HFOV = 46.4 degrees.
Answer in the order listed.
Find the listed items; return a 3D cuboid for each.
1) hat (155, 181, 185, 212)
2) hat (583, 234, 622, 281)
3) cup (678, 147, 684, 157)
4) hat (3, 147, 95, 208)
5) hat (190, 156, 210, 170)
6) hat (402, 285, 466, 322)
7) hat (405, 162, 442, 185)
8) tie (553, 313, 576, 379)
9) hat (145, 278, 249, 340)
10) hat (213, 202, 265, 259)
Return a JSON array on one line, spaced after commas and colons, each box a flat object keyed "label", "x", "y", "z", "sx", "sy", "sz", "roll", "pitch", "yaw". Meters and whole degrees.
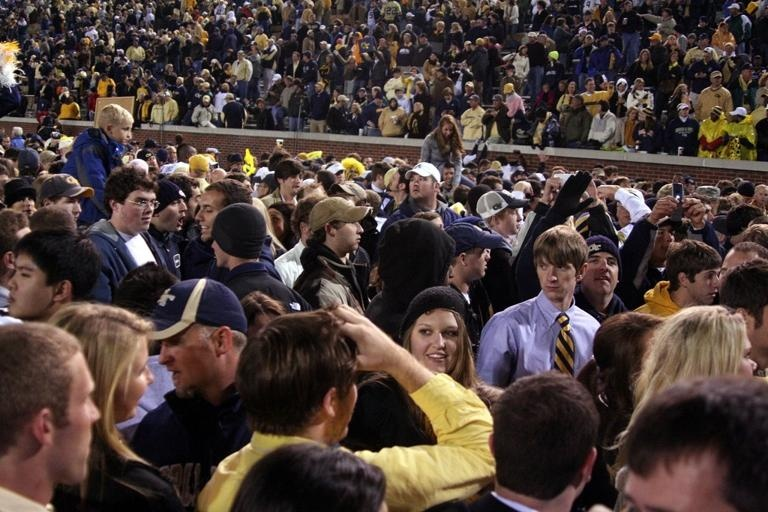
[{"label": "hat", "x": -1.967, "y": -0.543, "z": 8.201, "sx": 0.240, "sy": 0.212, "sz": 0.254, "roll": -11, "pitch": 1, "yaw": 2}, {"label": "hat", "x": 1.775, "y": -0.029, "z": 7.274, "sx": 0.272, "sy": 0.241, "sz": 0.439, "roll": 6, "pitch": 7, "yaw": 13}, {"label": "cup", "x": 6.331, "y": -2.227, "z": 19.115, "sx": 0.111, "sy": 0.180, "sz": 0.090, "roll": 6, "pitch": 7, "yaw": 14}, {"label": "hat", "x": -3.258, "y": -0.751, "z": 8.616, "sx": 0.819, "sy": 0.303, "sz": 0.474, "roll": 5, "pitch": 7, "yaw": -7}, {"label": "hat", "x": -2.596, "y": -1.298, "z": 12.530, "sx": 0.264, "sy": 0.198, "sz": 0.530, "roll": 3, "pitch": 8, "yaw": -14}, {"label": "hat", "x": 0.311, "y": 0.326, "z": 5.661, "sx": 0.386, "sy": 0.196, "sz": 0.348, "roll": -7, "pitch": -18, "yaw": 38}, {"label": "hat", "x": 0.486, "y": -0.915, "z": 9.675, "sx": 0.220, "sy": 0.176, "sz": 0.333, "roll": 8, "pitch": -21, "yaw": 42}, {"label": "tie", "x": 1.304, "y": 0.659, "z": 6.482, "sx": 0.153, "sy": 0.617, "sz": 0.079, "roll": 1, "pitch": 26, "yaw": 13}, {"label": "hat", "x": -1.122, "y": 0.315, "z": 5.253, "sx": 0.677, "sy": 0.369, "sz": 0.493, "roll": 5, "pitch": -10, "yaw": -40}, {"label": "hat", "x": -1.049, "y": -0.187, "z": 6.559, "sx": 0.305, "sy": 0.359, "sz": 0.412, "roll": 12, "pitch": -5, "yaw": -29}]
